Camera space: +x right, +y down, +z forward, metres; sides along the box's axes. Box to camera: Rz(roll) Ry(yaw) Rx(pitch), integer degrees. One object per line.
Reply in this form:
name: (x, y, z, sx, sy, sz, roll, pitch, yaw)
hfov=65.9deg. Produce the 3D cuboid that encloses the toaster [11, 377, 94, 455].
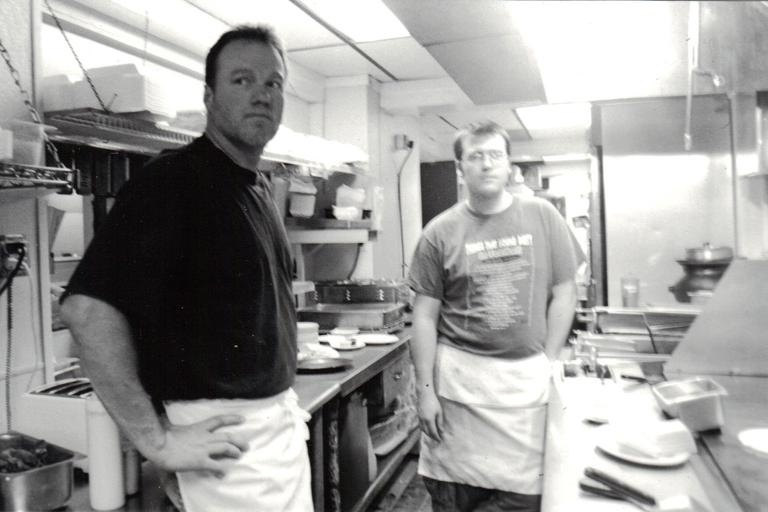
toaster: (-1.229, 0.603, 2.250, 0.293, 0.217, 0.154, 8, 8, -3)
